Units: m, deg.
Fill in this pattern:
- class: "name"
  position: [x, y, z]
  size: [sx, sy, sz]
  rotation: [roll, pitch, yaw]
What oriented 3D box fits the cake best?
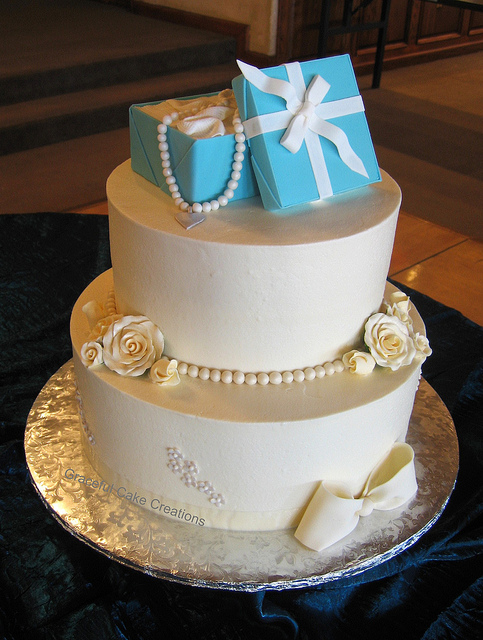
- class: "cake"
  position: [-0.039, 0.062, 1.265]
  size: [0.705, 0.461, 0.665]
  rotation: [30, 44, 31]
